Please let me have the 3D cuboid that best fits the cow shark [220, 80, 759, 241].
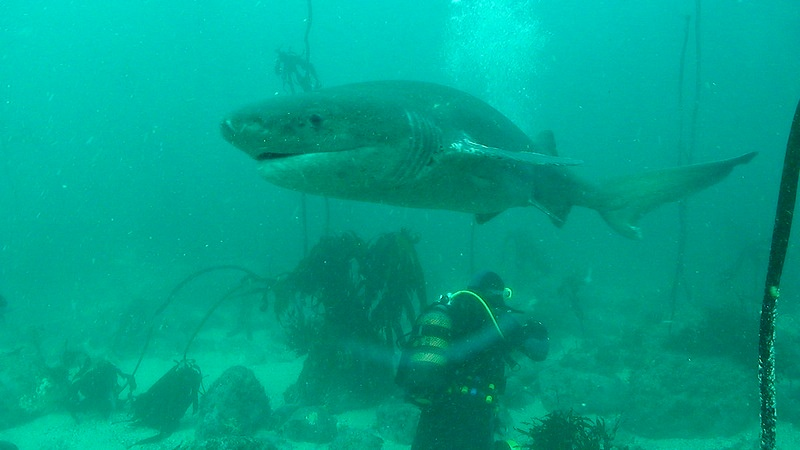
[{"bbox_3d":[1.937,-2.174,26.458,13.973,3.105,6.920,8,3,-17],"label":"cow shark"}]
